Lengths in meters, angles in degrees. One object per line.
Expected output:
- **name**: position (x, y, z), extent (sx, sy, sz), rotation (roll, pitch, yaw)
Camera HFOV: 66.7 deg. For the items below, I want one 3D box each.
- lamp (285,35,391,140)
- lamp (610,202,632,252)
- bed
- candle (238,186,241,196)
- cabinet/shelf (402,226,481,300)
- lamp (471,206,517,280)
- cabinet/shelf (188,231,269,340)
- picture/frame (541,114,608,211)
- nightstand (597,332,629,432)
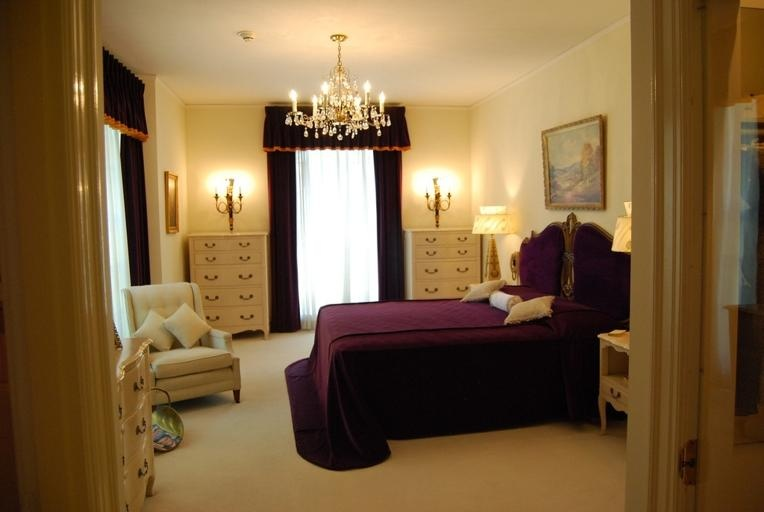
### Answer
- **lamp**: position (-0.405, -1.709, 5.624), extent (0.860, 0.826, 0.901), rotation (1, 15, 5)
- **lamp**: position (1.825, -0.197, 4.386), extent (0.117, 0.441, 1.026), rotation (4, 12, 21)
- **bed**: position (0.697, 0.811, 4.857), extent (2.285, 1.492, 1.937), rotation (-2, 6, -8)
- **candle**: position (-1.877, -0.873, 7.698), extent (0.028, 0.108, 0.037), rotation (-2, 12, -3)
- **cabinet/shelf**: position (0.910, 0.135, 7.866), extent (0.916, 0.984, 0.549), rotation (-2, -1, 12)
- **lamp**: position (1.367, -0.125, 7.077), extent (0.456, 0.978, 0.466), rotation (0, 5, 28)
- **cabinet/shelf**: position (-1.914, 0.335, 7.340), extent (0.917, 1.332, 0.607), rotation (-1, 13, -12)
- **picture/frame**: position (1.881, -0.882, 5.698), extent (0.046, 0.831, 0.902), rotation (-3, 3, -20)
- **nightstand**: position (1.695, 0.959, 4.255), extent (0.204, 0.784, 0.442), rotation (3, 12, 20)
